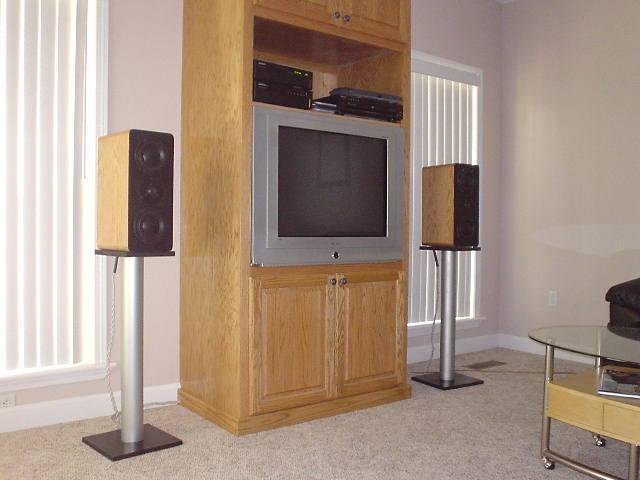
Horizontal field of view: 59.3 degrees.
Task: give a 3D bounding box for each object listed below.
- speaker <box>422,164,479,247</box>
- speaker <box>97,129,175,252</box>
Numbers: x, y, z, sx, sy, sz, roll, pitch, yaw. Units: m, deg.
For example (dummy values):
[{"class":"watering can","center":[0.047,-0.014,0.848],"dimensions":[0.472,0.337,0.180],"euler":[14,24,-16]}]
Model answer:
[{"class":"speaker","center":[0.910,-0.236,3.928],"dimensions":[0.383,0.585,0.190],"euler":[1,5,10]},{"class":"speaker","center":[-0.988,-0.245,2.912],"dimensions":[0.466,0.635,0.222],"euler":[3,6,25]}]
